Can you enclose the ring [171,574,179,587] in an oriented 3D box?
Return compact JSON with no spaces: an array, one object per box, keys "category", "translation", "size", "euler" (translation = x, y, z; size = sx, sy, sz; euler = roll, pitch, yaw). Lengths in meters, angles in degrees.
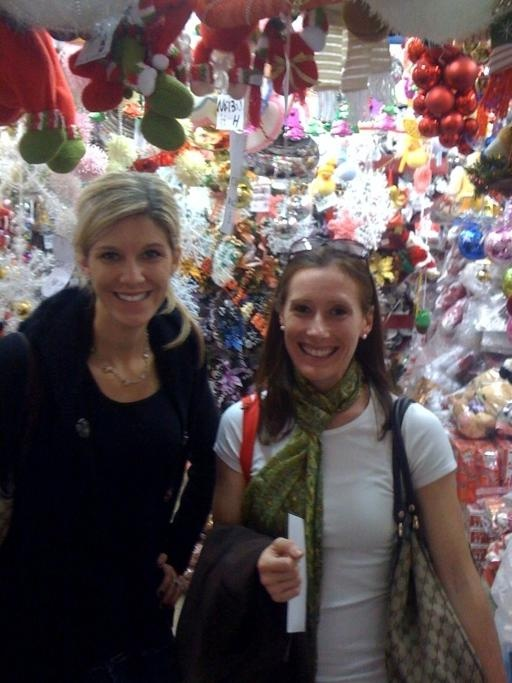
[{"category":"ring","translation":[-0.226,0.671,1.534],"size":[0.023,0.006,0.023],"euler":[5,7,-1]}]
